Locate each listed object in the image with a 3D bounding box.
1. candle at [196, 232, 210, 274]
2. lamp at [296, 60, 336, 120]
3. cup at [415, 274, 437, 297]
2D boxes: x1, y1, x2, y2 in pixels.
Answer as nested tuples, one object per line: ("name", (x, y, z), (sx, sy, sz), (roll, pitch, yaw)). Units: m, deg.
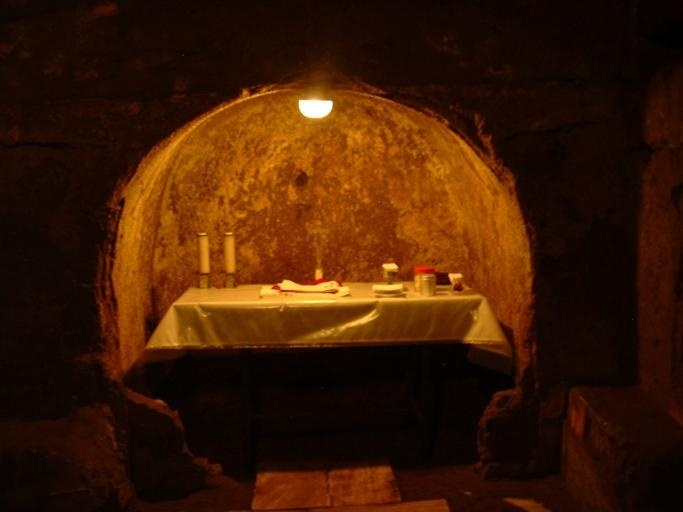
("candle", (-1.160, -0.012, 5.151), (0.097, 0.345, 0.266), (2, -35, -14))
("lamp", (-0.209, -1.391, 5.086), (0.346, 0.358, 0.532), (8, -73, 20))
("cup", (0.642, 0.220, 4.698), (0.148, 0.151, 0.134), (1, 3, -1))
